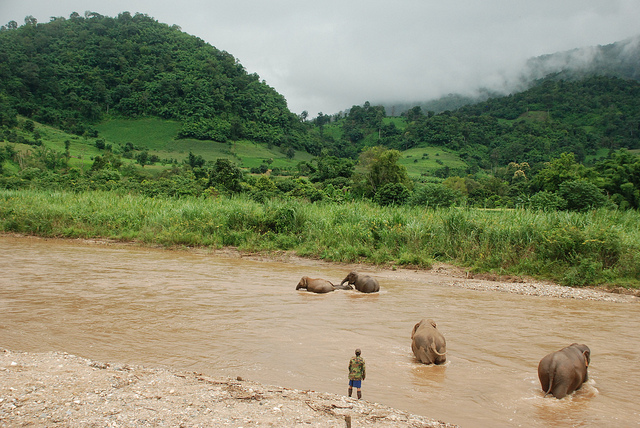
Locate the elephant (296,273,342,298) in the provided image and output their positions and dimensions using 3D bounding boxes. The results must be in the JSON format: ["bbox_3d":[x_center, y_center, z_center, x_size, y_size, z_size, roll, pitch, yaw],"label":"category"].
[{"bbox_3d":[-0.004,2.778,23.827,1.636,0.845,0.747,19,16,9],"label":"elephant"}]

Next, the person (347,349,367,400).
[{"bbox_3d":[1.089,4.634,18.114,0.500,1.547,0.821,3,14,3],"label":"person"}]

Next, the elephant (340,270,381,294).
[{"bbox_3d":[1.672,2.671,24.318,1.764,0.988,0.665,12,7,40],"label":"elephant"}]

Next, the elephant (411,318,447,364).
[{"bbox_3d":[3.469,4.069,19.367,1.164,1.155,0.788,8,16,23],"label":"elephant"}]

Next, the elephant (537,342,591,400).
[{"bbox_3d":[7.435,4.786,18.524,1.666,1.358,0.769,-6,17,-32],"label":"elephant"}]

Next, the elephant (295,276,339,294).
[{"bbox_3d":[-0.145,2.752,23.843,1.325,0.705,0.601,12,6,10],"label":"elephant"}]
